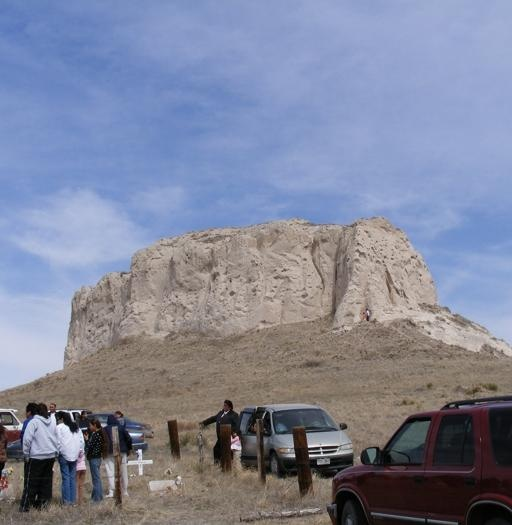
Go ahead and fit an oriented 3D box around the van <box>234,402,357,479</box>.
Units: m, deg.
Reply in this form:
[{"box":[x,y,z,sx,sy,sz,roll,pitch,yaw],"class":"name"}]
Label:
[{"box":[0.723,3.663,18.126,1.420,0.895,2.606,3,-15,-22],"class":"van"}]
